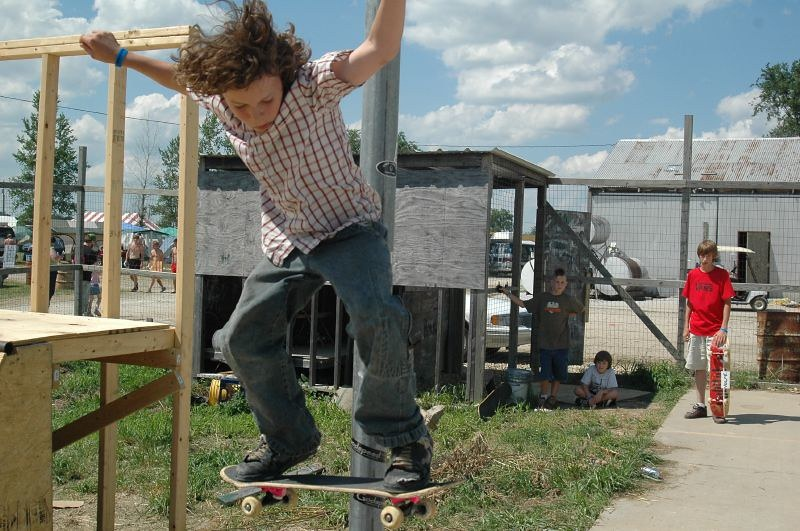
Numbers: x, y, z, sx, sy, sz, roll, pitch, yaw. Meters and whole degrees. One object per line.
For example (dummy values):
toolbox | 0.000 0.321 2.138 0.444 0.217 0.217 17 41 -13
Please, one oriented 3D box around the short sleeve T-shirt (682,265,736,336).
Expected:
short sleeve T-shirt | 3.960 0.464 10.816 0.615 0.890 0.401 5 11 27

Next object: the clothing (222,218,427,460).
clothing | -0.756 0.696 7.893 2.211 2.571 1.003 -10 -19 15

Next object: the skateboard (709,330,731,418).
skateboard | 4.058 1.456 10.755 0.298 1.068 0.237 5 12 31

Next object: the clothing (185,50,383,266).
clothing | -0.953 -0.864 6.909 1.860 1.196 0.755 -6 9 40

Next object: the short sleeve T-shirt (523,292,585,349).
short sleeve T-shirt | 2.341 0.814 12.576 0.928 0.782 0.283 -5 -16 20

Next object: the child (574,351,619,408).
child | 2.884 1.651 12.073 0.652 0.881 0.732 -3 -9 25

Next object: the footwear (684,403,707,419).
footwear | 3.874 1.924 10.985 0.354 0.169 0.134 2 1 -6

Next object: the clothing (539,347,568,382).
clothing | 2.161 1.394 11.865 0.428 0.583 0.287 2 -9 -3

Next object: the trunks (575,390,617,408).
trunks | 2.736 1.867 11.773 0.317 0.147 0.344 0 0 -10
